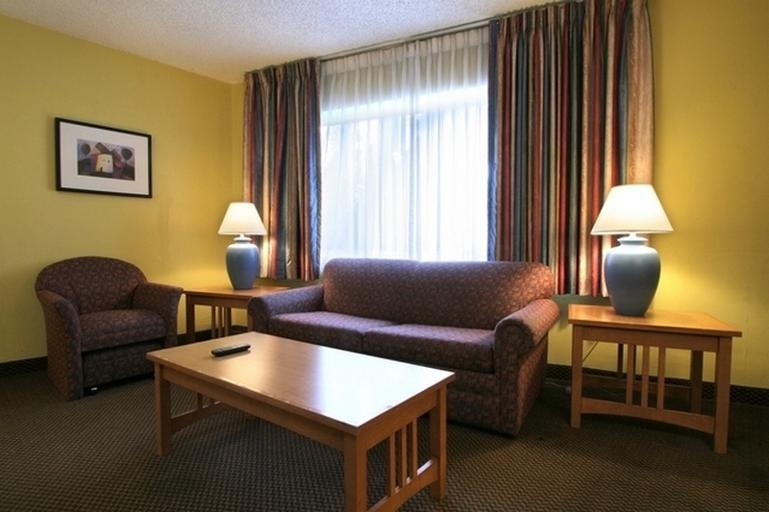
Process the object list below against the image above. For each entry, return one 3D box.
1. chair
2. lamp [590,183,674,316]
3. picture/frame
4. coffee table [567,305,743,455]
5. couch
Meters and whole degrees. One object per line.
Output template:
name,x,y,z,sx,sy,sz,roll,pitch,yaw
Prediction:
chair,-2.560,0.614,5.401,1.025,1.179,1.134,1,5,28
lamp,1.998,-0.031,4.703,0.573,1.086,0.587,2,-6,9
picture/frame,-2.815,-0.970,5.750,0.791,0.684,0.032,-4,6,-40
coffee table,1.757,0.945,4.865,1.294,0.890,1.348,0,-8,42
couch,0.129,0.634,5.258,2.699,1.235,1.165,3,3,29
